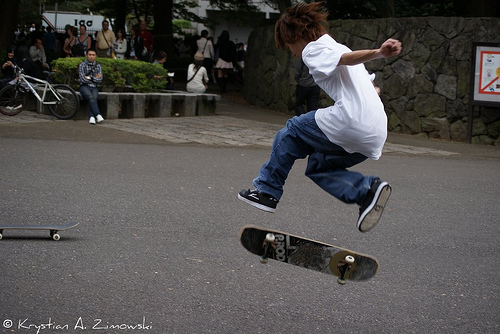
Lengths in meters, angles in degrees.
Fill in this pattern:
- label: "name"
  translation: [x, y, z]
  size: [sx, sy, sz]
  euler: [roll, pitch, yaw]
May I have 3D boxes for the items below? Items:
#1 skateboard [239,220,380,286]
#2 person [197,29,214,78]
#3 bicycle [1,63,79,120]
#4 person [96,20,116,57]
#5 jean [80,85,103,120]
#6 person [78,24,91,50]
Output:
- label: "skateboard"
  translation: [0.598, 0.913, 4.840]
  size: [1.337, 0.362, 0.199]
  euler: [16, 30, 5]
- label: "person"
  translation: [-2.113, -5.217, 21.569]
  size: [0.722, 2.304, 0.737]
  euler: [5, 38, -6]
- label: "bicycle"
  translation: [-5.637, -2.104, 13.335]
  size: [2.288, 1.514, 1.173]
  euler: [9, 8, 2]
- label: "person"
  translation: [-5.091, -4.598, 16.944]
  size: [0.595, 1.258, 0.849]
  euler: [-6, 16, -32]
- label: "jean"
  translation: [-4.233, -1.803, 12.670]
  size: [0.399, 1.022, 0.299]
  euler: [-14, -8, -19]
- label: "person"
  translation: [-6.023, -4.789, 17.315]
  size: [0.428, 0.854, 0.955]
  euler: [-4, 16, -27]
